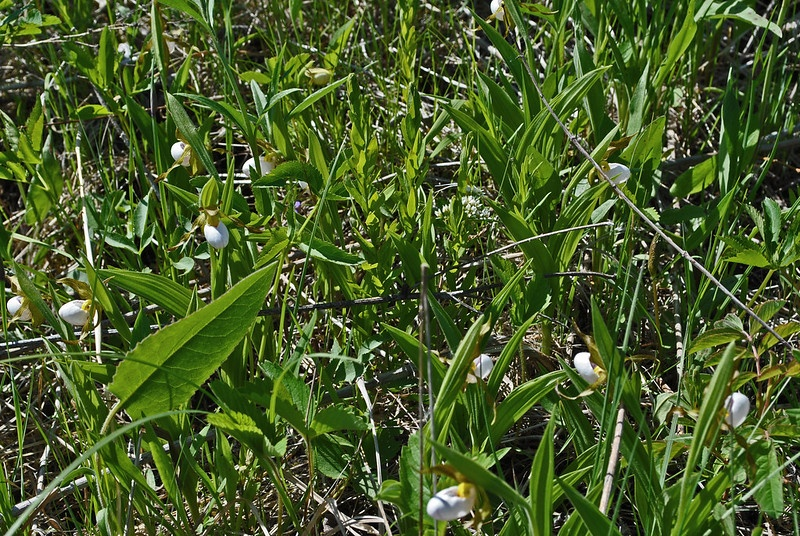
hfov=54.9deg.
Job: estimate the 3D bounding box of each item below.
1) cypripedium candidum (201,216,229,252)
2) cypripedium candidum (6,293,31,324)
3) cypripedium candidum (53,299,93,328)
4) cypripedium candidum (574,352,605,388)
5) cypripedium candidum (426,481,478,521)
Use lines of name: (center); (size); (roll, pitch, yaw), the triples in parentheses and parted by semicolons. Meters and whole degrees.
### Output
cypripedium candidum: (-0.640, -0.118, 2.667); (0.060, 0.053, 0.113); (-14, 95, 3)
cypripedium candidum: (-1.376, 0.144, 2.788); (0.080, 0.082, 0.098); (-9, 101, 13)
cypripedium candidum: (-1.156, 0.152, 2.752); (0.097, 0.080, 0.098); (-2, 85, -39)
cypripedium candidum: (0.619, 0.353, 2.536); (0.081, 0.109, 0.085); (-29, 47, -24)
cypripedium candidum: (0.144, 0.651, 2.179); (0.132, 0.059, 0.094); (-18, 86, -13)
